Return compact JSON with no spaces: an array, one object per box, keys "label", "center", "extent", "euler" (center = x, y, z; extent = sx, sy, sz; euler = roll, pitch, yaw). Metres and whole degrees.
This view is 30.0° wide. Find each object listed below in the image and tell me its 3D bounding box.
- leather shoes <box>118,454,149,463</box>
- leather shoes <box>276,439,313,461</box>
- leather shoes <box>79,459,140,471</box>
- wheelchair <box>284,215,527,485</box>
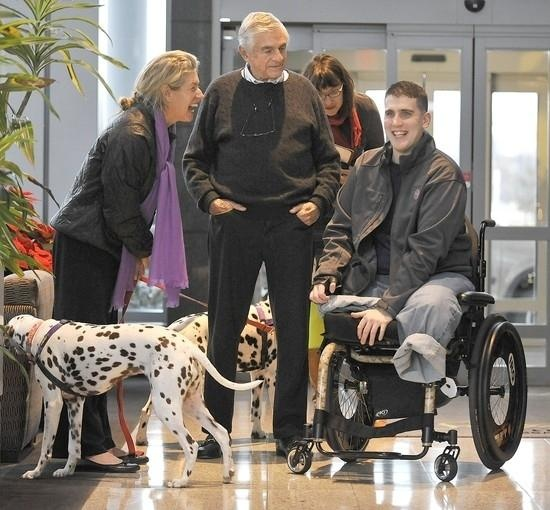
[{"label":"leather shoes","center":[-0.686,0.969,4.943],"extent":[0.137,0.047,0.053],"euler":[0,-5,-6]},{"label":"leather shoes","center":[0.077,0.926,4.912],"extent":[0.076,0.109,0.239],"euler":[5,-21,-25]},{"label":"leather shoes","center":[-0.791,0.997,4.827],"extent":[0.222,0.044,0.106],"euler":[-1,-11,5]},{"label":"wheelchair","center":[0.670,0.398,4.937],"extent":[0.924,1.348,0.946],"euler":[1,-4,26]}]
